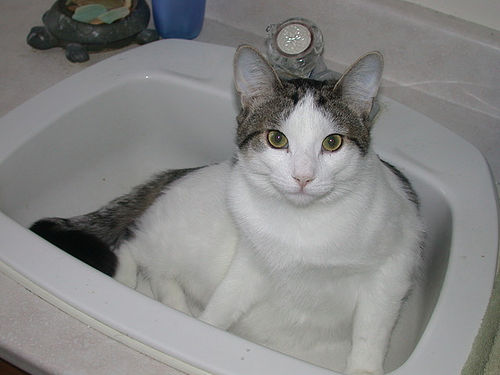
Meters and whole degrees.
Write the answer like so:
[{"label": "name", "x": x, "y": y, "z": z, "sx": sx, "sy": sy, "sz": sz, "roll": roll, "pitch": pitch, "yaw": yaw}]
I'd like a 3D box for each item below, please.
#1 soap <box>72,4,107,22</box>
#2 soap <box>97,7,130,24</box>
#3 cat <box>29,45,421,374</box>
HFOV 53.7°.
[{"label": "soap", "x": -0.598, "y": -0.645, "z": 1.832, "sx": 0.098, "sy": 0.024, "sz": 0.066, "roll": 5, "pitch": 68, "yaw": -9}, {"label": "soap", "x": -0.498, "y": -0.634, "z": 1.824, "sx": 0.082, "sy": 0.026, "sz": 0.063, "roll": -20, "pitch": 46, "yaw": -28}, {"label": "cat", "x": -0.046, "y": -0.008, "z": 1.355, "sx": 0.624, "sy": 0.726, "sz": 1.002, "roll": -22, "pitch": 48, "yaw": -31}]
